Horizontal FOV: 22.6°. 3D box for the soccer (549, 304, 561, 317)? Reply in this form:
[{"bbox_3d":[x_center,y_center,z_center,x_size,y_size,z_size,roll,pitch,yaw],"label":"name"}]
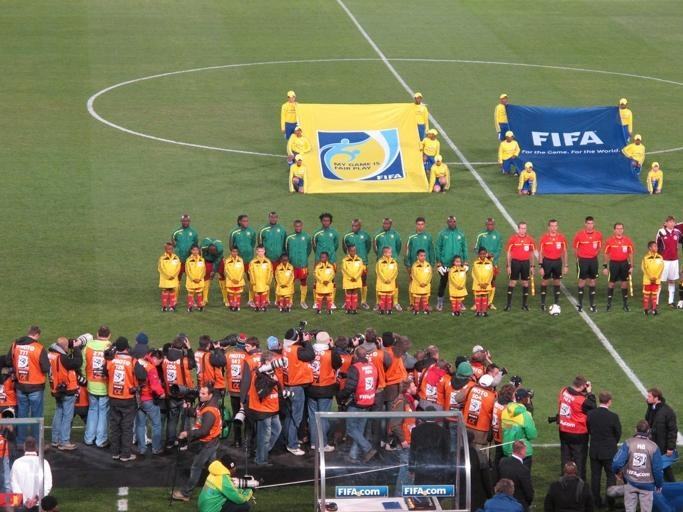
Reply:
[{"bbox_3d":[6.359,1.601,51.315,0.345,0.349,0.488,-2,-4,6],"label":"soccer"}]

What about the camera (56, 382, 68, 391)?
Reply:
[{"bbox_3d":[-7.152,3.382,44.014,0.248,0.206,0.164,4,3,2],"label":"camera"}]

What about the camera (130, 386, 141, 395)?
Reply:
[{"bbox_3d":[-5.246,3.439,43.904,0.239,0.160,0.234,4,7,33],"label":"camera"}]

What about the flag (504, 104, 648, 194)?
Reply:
[{"bbox_3d":[8.146,-3.779,60.152,4.089,3.214,0.538,-2,-4,0],"label":"flag"}]

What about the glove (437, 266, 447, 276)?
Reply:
[{"bbox_3d":[3.012,0.426,51.582,0.094,0.247,0.271,8,26,31],"label":"glove"}]

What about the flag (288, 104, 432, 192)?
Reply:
[{"bbox_3d":[0.696,-3.545,57.776,5.783,2.744,2.108,-3,25,-3],"label":"flag"}]
